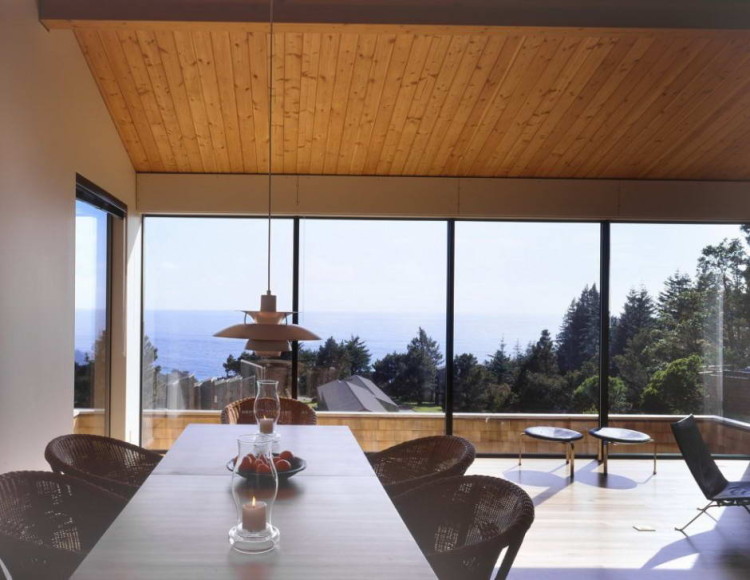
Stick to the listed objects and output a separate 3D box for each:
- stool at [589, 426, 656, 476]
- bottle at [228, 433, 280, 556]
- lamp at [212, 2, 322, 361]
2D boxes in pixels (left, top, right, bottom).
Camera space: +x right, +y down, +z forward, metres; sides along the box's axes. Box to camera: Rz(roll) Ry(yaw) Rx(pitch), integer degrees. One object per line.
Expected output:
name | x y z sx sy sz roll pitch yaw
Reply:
stool | 2.183 1.508 5.963 0.485 0.383 0.471 3 -16 -12
bottle | -0.577 0.944 3.166 0.237 0.472 0.344 0 8 -12
lamp | -0.729 -0.583 4.999 0.640 2.920 3.182 1 8 -7
